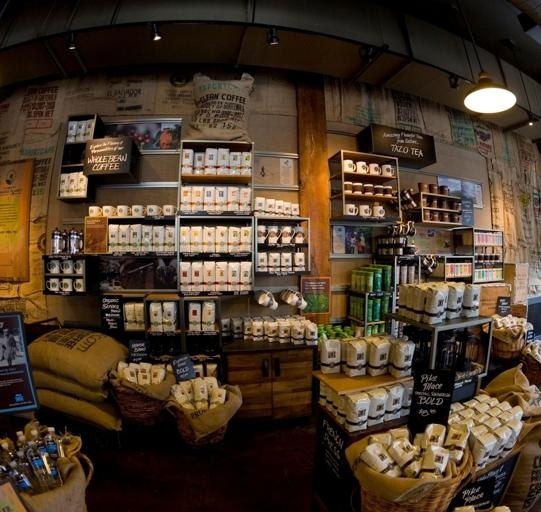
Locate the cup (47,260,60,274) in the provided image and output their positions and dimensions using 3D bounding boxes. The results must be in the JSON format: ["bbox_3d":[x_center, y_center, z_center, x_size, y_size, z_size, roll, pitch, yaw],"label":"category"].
[{"bbox_3d":[-2.304,0.115,4.563,0.179,0.153,0.103,1,2,-19],"label":"cup"}]

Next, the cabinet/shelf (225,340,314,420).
[{"bbox_3d":[-0.010,1.250,4.149,0.859,0.606,0.301,1,-3,-9],"label":"cabinet/shelf"}]

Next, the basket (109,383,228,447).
[{"bbox_3d":[-0.853,1.390,3.766,0.811,0.304,0.684,1,-9,18],"label":"basket"}]

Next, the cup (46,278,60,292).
[{"bbox_3d":[-2.262,0.309,4.493,0.178,0.147,0.103,2,0,3],"label":"cup"}]

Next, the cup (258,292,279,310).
[{"bbox_3d":[-0.042,0.481,4.537,0.179,0.173,0.163,0,-2,0],"label":"cup"}]
